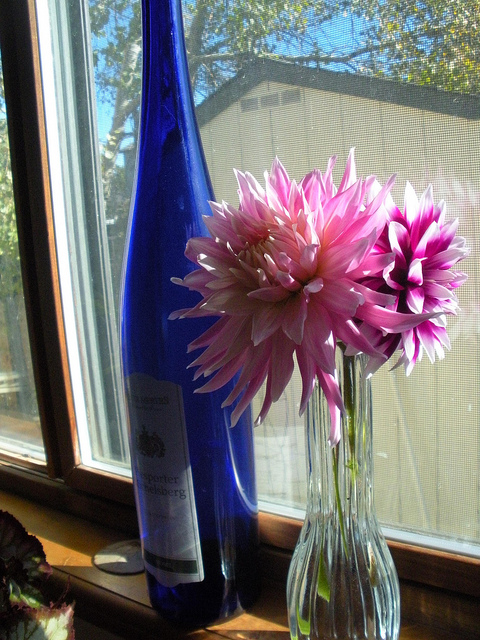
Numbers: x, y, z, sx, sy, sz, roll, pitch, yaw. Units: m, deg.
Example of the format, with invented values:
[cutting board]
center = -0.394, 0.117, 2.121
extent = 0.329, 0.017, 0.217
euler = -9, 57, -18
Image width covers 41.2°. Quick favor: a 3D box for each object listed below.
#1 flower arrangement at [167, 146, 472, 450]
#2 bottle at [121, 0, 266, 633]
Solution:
[flower arrangement]
center = 0.048, -0.008, 0.400
extent = 0.184, 0.193, 0.100
euler = -3, 10, -8
[bottle]
center = -0.051, 0.001, 0.563
extent = 0.108, 0.539, 0.114
euler = -2, 10, 0
